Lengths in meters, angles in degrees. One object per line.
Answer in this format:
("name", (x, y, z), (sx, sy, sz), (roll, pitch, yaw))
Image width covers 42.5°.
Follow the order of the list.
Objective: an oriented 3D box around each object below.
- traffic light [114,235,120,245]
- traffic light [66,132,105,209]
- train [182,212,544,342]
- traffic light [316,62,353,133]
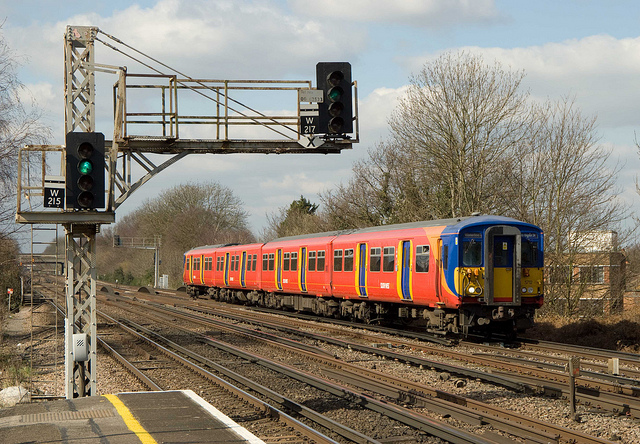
("traffic light", (-18.807, 1.630, 76.224), (0.533, 0.551, 0.438), (0, -7, -13))
("traffic light", (-5.465, -1.181, 19.337), (0.958, 1.767, 0.924), (-1, 1, -34))
("train", (-0.810, 2.102, 39.435), (3.826, 3.897, 31.066), (0, -1, -24))
("traffic light", (0.428, -3.321, 22.602), (1.195, 3.285, 1.019), (1, 0, -2))
